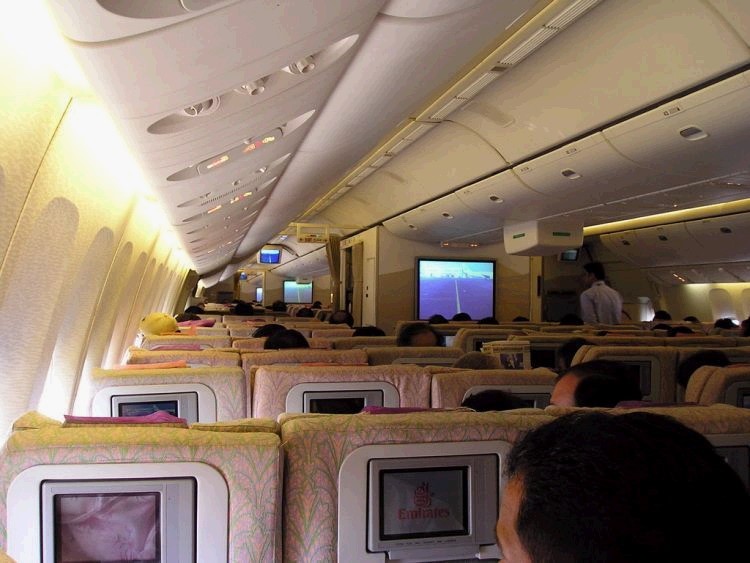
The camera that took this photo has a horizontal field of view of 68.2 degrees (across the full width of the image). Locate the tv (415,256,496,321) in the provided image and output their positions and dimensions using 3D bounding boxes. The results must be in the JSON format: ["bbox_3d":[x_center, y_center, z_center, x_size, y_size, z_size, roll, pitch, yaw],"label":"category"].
[{"bbox_3d":[2.141,0.239,15.139,2.461,1.253,0.089,0,-4,-1],"label":"tv"}]

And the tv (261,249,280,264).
[{"bbox_3d":[-5.046,-1.227,26.701,1.421,0.593,0.872,-1,3,-10],"label":"tv"}]

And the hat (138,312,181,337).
[{"bbox_3d":[-2.400,0.481,6.201,0.533,0.298,0.360,4,-2,-5],"label":"hat"}]
